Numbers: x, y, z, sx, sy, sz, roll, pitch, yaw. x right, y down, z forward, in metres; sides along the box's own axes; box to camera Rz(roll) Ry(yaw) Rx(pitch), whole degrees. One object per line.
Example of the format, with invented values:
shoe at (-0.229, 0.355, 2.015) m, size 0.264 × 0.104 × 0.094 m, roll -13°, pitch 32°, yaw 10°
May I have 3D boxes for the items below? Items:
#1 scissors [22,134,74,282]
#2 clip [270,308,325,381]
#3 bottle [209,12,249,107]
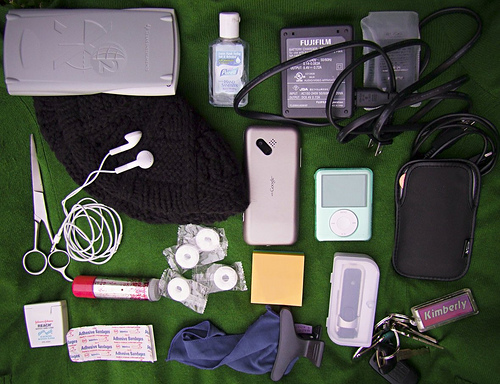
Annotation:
scissors at (-0.662, 0.052, 1.634) m, size 0.156 × 0.473 × 0.049 m, roll 0°, pitch 0°, yaw -16°
clip at (0.154, 0.489, 1.631) m, size 0.168 × 0.232 × 0.051 m, roll 0°, pitch 0°, yaw 1°
bottle at (-0.063, -0.417, 1.542) m, size 0.122 × 0.292 × 0.084 m, roll -5°, pitch 41°, yaw -8°
